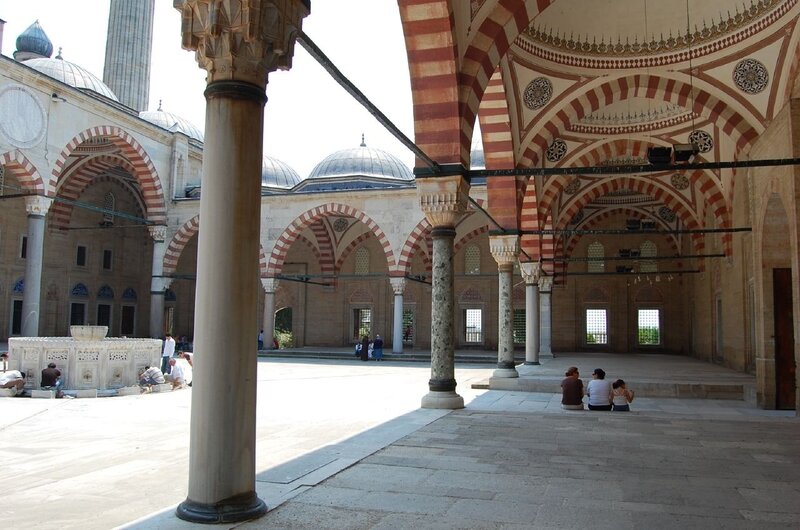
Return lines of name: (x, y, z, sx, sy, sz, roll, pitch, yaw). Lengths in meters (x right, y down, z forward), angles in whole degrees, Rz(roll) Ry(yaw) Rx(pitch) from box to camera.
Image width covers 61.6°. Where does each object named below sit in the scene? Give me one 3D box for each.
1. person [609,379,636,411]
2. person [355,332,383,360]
person: (3.322, 1.965, 10.102, 0.282, 0.448, 0.818, -3, -7, 16)
person: (-1.076, 2.606, 21.111, 0.817, 1.012, 0.979, -1, -18, 6)
